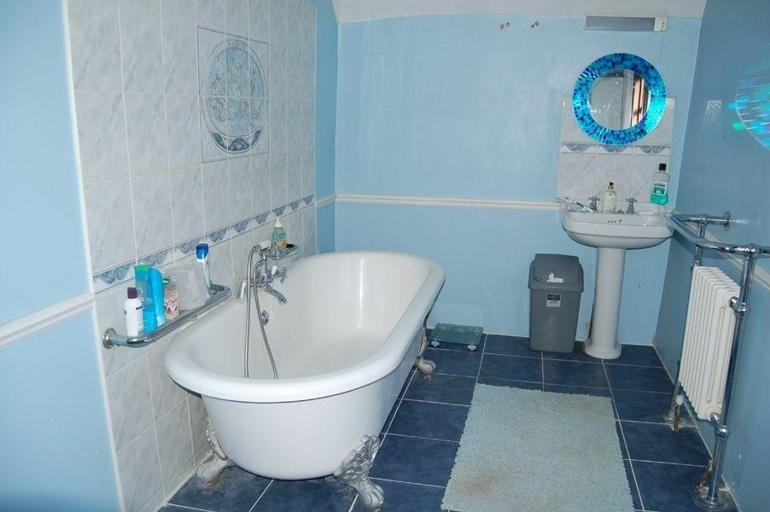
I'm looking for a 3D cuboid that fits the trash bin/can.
[{"bbox_3d":[1.365,0.310,4.286,0.420,0.797,0.321,4,18,10],"label":"trash bin/can"}]

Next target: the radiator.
[{"bbox_3d":[1.777,0.492,2.924,0.176,0.746,0.501,4,13,11],"label":"radiator"}]

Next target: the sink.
[{"bbox_3d":[1.659,-0.194,3.819,0.690,0.284,0.574,4,13,13],"label":"sink"}]

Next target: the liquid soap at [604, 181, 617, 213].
[{"bbox_3d":[1.761,-0.463,4.109,0.107,0.209,0.216,9,17,22],"label":"liquid soap"}]

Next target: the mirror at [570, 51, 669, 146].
[{"bbox_3d":[1.799,-1.192,4.064,0.699,0.687,0.076,5,16,9],"label":"mirror"}]

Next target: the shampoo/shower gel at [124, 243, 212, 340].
[{"bbox_3d":[-1.058,0.145,2.576,0.193,0.332,0.528,9,17,25],"label":"shampoo/shower gel"}]

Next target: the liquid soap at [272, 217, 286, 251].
[{"bbox_3d":[-0.676,-0.148,3.335,0.084,0.187,0.197,-2,16,-12],"label":"liquid soap"}]

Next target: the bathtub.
[{"bbox_3d":[-0.335,0.586,3.445,1.350,0.669,2.371,0,14,16],"label":"bathtub"}]

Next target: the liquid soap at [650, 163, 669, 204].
[{"bbox_3d":[2.136,-0.550,4.071,0.127,0.319,0.118,7,17,17],"label":"liquid soap"}]
